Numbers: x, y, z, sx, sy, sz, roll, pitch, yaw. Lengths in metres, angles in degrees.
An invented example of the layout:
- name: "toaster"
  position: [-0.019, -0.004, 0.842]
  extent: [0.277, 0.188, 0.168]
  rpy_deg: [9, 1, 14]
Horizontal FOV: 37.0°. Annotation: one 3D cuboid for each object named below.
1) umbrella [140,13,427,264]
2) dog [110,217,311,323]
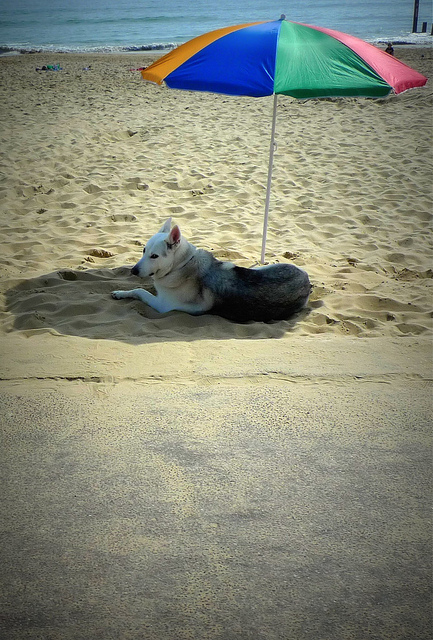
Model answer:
- name: "umbrella"
  position: [0.489, -1.812, 5.563]
  extent: [1.580, 1.319, 1.378]
  rpy_deg: [3, 31, 3]
- name: "dog"
  position: [0.055, -0.337, 5.838]
  extent: [1.763, 0.703, 0.998]
  rpy_deg: [2, 8, -31]
